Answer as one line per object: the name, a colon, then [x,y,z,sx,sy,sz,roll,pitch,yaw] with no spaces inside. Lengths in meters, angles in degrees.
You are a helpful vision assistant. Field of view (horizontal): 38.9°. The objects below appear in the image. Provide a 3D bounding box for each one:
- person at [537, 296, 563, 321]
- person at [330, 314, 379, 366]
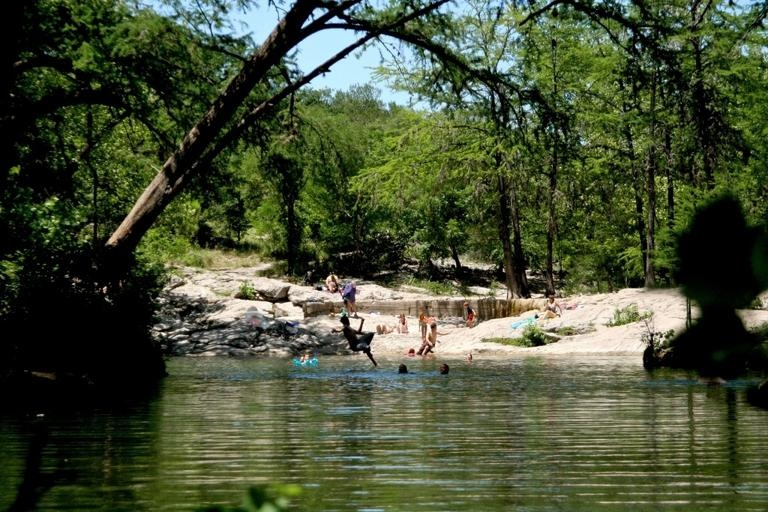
person: [7.189,2.285,46.758,0.994,1.403,0.868,-3,12,-8]
person: [-1.037,2.904,37.566,1.287,1.904,0.751,-18,4,8]
